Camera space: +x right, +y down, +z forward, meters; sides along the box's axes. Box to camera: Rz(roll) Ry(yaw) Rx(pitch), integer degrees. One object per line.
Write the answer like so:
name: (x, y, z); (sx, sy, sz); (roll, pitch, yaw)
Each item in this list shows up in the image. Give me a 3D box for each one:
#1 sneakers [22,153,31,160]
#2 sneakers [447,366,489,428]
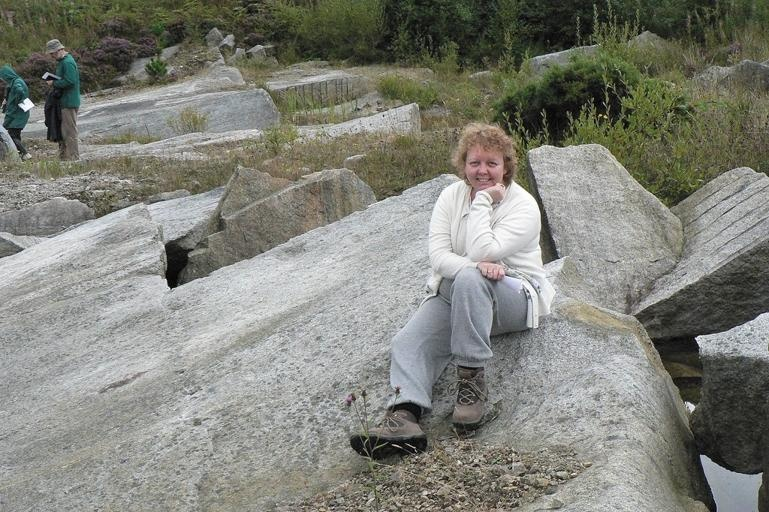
sneakers: (-7.395, -2.062, 13.858); (0.135, 0.132, 0.304); (3, 12, -2)
sneakers: (0.656, 1.049, 5.061); (0.210, 0.283, 0.479); (-5, 28, 16)
